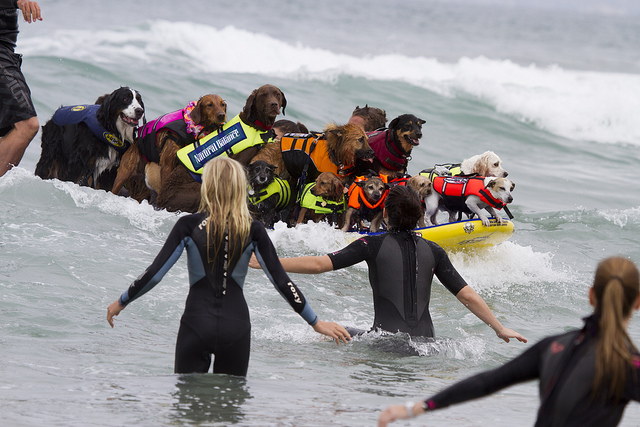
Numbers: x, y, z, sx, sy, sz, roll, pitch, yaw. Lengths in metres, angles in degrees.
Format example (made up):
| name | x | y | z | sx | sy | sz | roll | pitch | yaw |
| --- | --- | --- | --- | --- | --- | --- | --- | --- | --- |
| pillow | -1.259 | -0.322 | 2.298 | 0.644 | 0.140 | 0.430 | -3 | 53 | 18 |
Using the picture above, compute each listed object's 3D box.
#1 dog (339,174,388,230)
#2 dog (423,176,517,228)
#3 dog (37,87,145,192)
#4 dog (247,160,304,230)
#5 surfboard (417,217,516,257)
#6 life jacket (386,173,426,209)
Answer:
| name | x | y | z | sx | sy | sz | roll | pitch | yaw |
| --- | --- | --- | --- | --- | --- | --- | --- | --- | --- |
| dog | 0.755 | -0.180 | 14.021 | 0.839 | 0.898 | 1.430 | 7 | 0 | -20 |
| dog | 2.544 | -0.231 | 13.727 | 1.768 | 0.786 | 0.731 | 2 | 0 | 40 |
| dog | -4.018 | -1.283 | 14.135 | 2.621 | 1.912 | 1.193 | 14 | 10 | 36 |
| dog | -0.895 | -0.360 | 14.231 | 0.692 | 1.151 | 1.817 | 7 | 8 | 20 |
| surfboard | 2.715 | 0.410 | 13.794 | 1.515 | 0.258 | 0.907 | 13 | -30 | -36 |
| life jacket | 1.241 | -0.317 | 11.288 | 0.256 | 0.552 | 1.047 | 32 | 14 | -10 |
